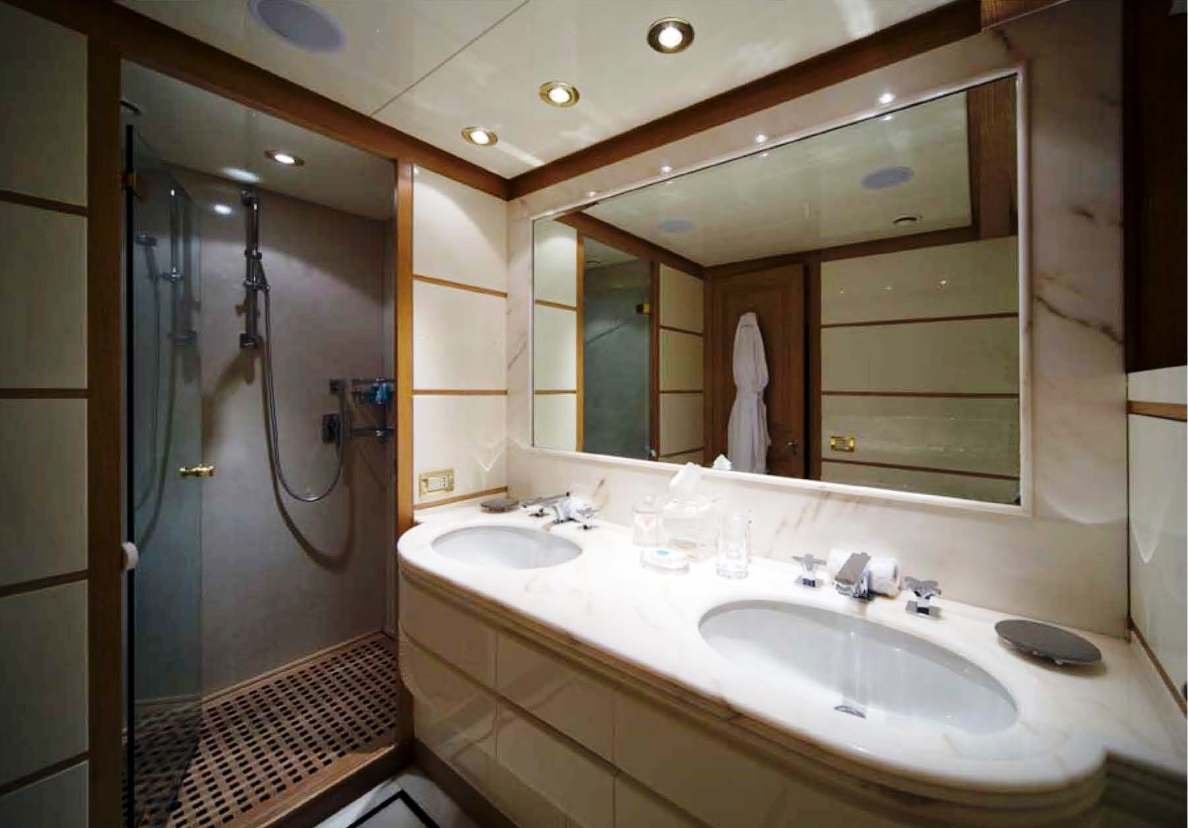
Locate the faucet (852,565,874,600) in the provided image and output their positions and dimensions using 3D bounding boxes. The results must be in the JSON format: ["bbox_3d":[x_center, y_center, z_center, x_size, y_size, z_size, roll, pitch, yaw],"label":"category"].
[{"bbox_3d":[0.857,0.546,2.582,0.079,0.096,0.028,0,1,-17],"label":"faucet"}]

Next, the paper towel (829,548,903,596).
[{"bbox_3d":[0.908,0.510,2.601,0.154,0.066,0.160,4,4,26],"label":"paper towel"}]

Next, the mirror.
[{"bbox_3d":[0.699,-0.440,2.843,1.507,1.019,0.078,1,1,38],"label":"mirror"}]
